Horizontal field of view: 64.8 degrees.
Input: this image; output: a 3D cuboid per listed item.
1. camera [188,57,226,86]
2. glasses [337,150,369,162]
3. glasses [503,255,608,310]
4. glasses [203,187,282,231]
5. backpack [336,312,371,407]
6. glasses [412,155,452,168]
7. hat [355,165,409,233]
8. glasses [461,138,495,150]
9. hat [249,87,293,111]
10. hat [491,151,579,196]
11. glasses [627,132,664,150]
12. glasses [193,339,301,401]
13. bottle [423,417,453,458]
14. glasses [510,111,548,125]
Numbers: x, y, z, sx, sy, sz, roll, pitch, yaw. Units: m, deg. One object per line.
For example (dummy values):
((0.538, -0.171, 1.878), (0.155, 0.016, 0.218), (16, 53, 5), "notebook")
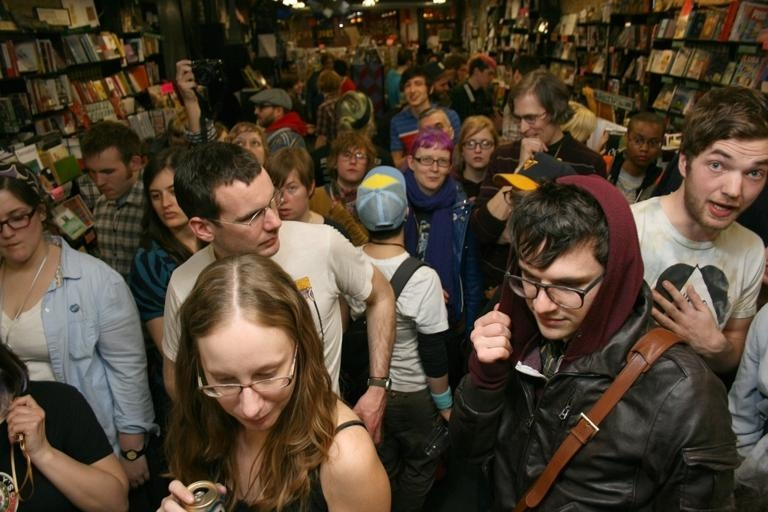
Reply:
((-1.356, -1.394, 4.660), (0.232, 0.190, 0.349), (-5, 23, -16), "camera")
((-0.241, -0.779, 4.714), (0.242, 0.096, 0.083), (-1, 23, -6), "glasses")
((0.685, 0.134, 2.557), (0.409, 0.201, 0.188), (20, 29, 38), "glasses")
((-0.648, -0.203, 2.792), (0.194, 0.061, 0.198), (-3, 37, 28), "glasses")
((-0.156, 0.571, 3.366), (0.125, 0.436, 0.313), (-1, -4, 7), "backpack")
((0.331, -0.662, 4.279), (0.259, 0.074, 0.107), (3, 22, 5), "glasses")
((-0.002, -0.339, 3.693), (0.262, 0.174, 0.411), (-1, 60, 5), "hat")
((0.746, -0.873, 4.781), (0.224, 0.078, 0.037), (4, 23, 6), "glasses")
((-1.161, -1.643, 6.335), (0.328, 0.142, 0.241), (10, 23, -11), "hat")
((0.894, -0.486, 3.588), (0.500, 0.197, 0.313), (-7, 11, -25), "hat")
((2.002, -0.876, 4.667), (0.170, 0.112, 0.202), (5, 8, 14), "glasses")
((-0.545, 0.512, 2.391), (0.379, 0.239, 0.154), (2, 23, 1), "glasses")
((0.324, 1.067, 3.580), (0.083, 0.180, 0.240), (9, 57, 32), "bottle")
((1.013, -0.983, 4.323), (0.100, 0.101, 0.293), (-13, 26, -30), "glasses")
